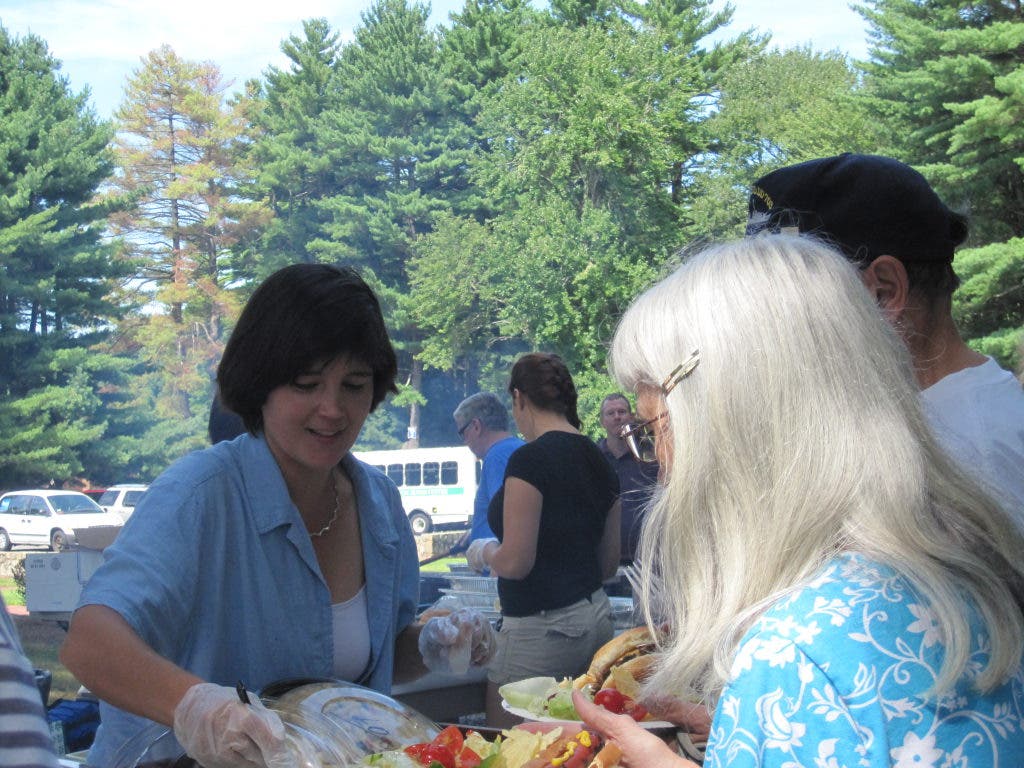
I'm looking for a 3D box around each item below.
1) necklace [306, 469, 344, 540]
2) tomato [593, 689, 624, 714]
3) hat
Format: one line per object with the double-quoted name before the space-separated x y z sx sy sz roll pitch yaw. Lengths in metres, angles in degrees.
"necklace" -0.545 0.378 3.458 0.095 0.134 0.027 -8 1 11
"tomato" 0.257 0.845 3.133 0.058 0.056 0.071 1 -37 19
"hat" 0.911 -0.434 3.094 0.435 0.236 0.338 4 6 16
